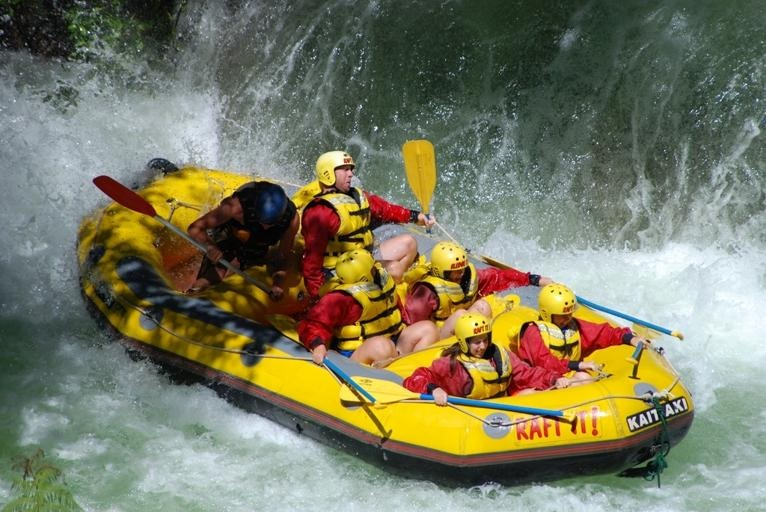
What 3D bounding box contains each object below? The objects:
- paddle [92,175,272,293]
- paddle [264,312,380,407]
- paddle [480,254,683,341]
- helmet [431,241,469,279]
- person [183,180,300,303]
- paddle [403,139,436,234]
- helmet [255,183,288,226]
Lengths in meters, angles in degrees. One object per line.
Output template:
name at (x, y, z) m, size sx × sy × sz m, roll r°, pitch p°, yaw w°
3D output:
paddle at (-2.138, -0.185, 9.370) m, size 2.331 × 0.182 × 0.158 m, roll 31°, pitch -6°, yaw 9°
paddle at (-0.556, 1.038, 8.478) m, size 1.295 × 0.178 × 0.148 m, roll 42°, pitch 8°, yaw 23°
paddle at (2.194, 0.478, 9.573) m, size 2.885 × 0.297 × 0.168 m, roll 18°, pitch -3°, yaw 31°
helmet at (0.658, 0.020, 9.096) m, size 0.381 × 0.313 × 0.319 m, roll 32°, pitch 45°, yaw 32°
person at (-1.465, -0.098, 9.245) m, size 0.856 × 1.021 × 1.782 m, roll 5°, pitch -26°, yaw -36°
paddle at (0.471, -0.864, 10.284) m, size 0.312 × 1.019 × 0.102 m, roll -12°, pitch 10°, yaw 0°
helmet at (-1.137, -0.528, 8.996) m, size 0.300 × 0.408 × 0.335 m, roll 4°, pitch -4°, yaw -10°
